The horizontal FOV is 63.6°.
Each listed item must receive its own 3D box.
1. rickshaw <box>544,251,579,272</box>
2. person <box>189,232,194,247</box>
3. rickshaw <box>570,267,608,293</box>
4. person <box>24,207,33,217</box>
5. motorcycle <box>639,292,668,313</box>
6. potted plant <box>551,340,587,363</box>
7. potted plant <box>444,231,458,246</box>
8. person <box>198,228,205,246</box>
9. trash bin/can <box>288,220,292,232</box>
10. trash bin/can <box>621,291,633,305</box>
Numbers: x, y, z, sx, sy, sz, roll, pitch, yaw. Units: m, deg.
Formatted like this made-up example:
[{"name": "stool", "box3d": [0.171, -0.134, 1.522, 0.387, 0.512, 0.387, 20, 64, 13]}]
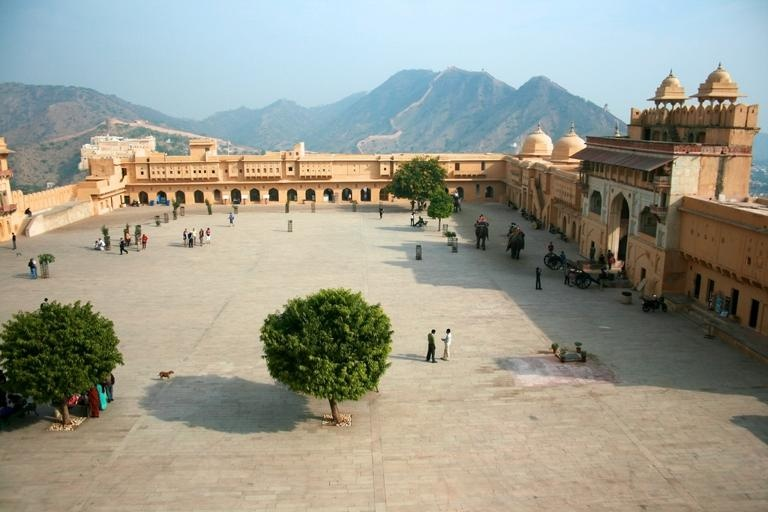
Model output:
[{"name": "rickshaw", "box3d": [15.169, 0.539, 52.491, 2.400, 1.086, 1.586, -7, 7, -3]}, {"name": "person", "box3d": [-20.043, -1.569, 59.863, 0.518, 1.317, 1.063, -5, 14, -13]}, {"name": "rickshaw", "box3d": [15.651, 1.644, 47.835, 2.742, 1.313, 1.977, 1, 13, 9]}, {"name": "person", "box3d": [-40.625, -4.733, 66.792, 0.843, 0.908, 1.259, 5, 5, -44]}, {"name": "motorcycle", "box3d": [18.945, 3.217, 42.860, 1.915, 0.938, 1.792, 0, 13, 5]}, {"name": "potted plant", "box3d": [10.594, 5.305, 35.394, 1.964, 1.081, 1.734, -4, 13, -10]}, {"name": "potted plant", "box3d": [6.428, -1.715, 61.705, 1.677, 1.525, 1.447, -1, 3, -3]}, {"name": "person", "box3d": [-19.489, -1.865, 61.257, 0.418, 1.349, 1.645, -6, 14, -17]}, {"name": "trash bin/can", "box3d": [-11.502, -3.371, 67.992, 0.609, 1.231, 2.148, -4, 13, -9]}, {"name": "trash bin/can", "box3d": [17.520, 2.969, 44.114, 0.872, 0.629, 0.860, 0, 5, 0]}]
